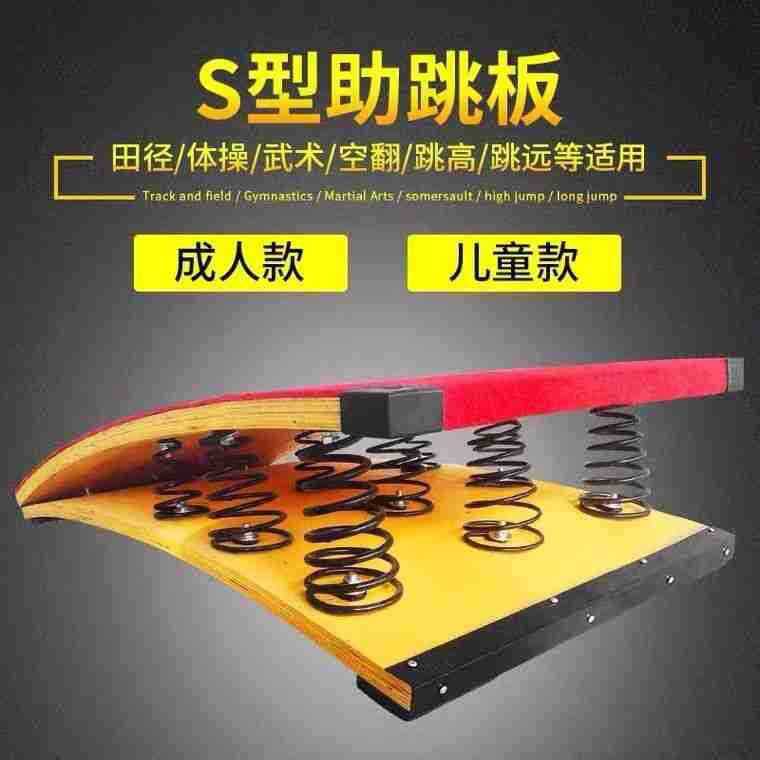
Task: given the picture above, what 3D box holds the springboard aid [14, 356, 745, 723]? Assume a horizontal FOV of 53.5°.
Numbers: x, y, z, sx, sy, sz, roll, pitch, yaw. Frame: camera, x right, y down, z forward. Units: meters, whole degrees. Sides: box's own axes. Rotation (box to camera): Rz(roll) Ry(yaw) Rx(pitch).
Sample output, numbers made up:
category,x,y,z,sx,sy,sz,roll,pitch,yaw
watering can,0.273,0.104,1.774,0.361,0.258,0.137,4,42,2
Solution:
category,x,y,z,sx,sy,sz,roll,pitch,yaw
springboard aid,0.047,0.145,1.572,1.028,0.488,1.140,-2,11,-39
